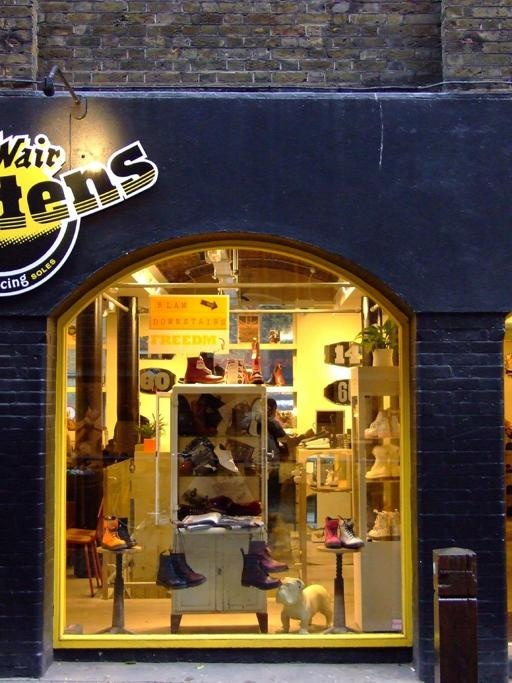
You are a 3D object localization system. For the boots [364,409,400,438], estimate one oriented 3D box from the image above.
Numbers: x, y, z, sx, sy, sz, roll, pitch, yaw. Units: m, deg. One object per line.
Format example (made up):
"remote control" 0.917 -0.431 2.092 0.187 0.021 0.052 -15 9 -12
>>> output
"boots" 0.725 0.511 7.286 0.094 0.160 0.258 1 -1 -32

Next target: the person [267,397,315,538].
"person" 0.225 0.797 7.372 0.492 0.765 0.848 0 -5 1

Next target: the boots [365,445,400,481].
"boots" 0.779 0.733 7.255 0.232 0.197 0.174 -1 -6 15

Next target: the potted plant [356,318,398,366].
"potted plant" 0.744 -0.006 7.326 0.273 0.243 0.260 -1 -7 16

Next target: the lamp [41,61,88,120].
"lamp" -1.109 -1.443 6.932 0.138 0.320 0.336 -13 -30 25

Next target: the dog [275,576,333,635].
"dog" 0.282 1.598 7.253 0.254 0.294 0.439 -7 -10 41

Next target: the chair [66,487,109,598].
"chair" -1.091 1.232 7.259 0.382 0.513 0.332 2 3 -7

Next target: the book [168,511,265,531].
"book" -0.237 1.085 7.389 0.573 0.130 0.171 0 -4 -4

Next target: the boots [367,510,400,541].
"boots" 0.785 1.122 7.239 0.105 0.151 0.276 0 -6 -9

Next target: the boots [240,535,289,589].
"boots" 0.052 1.359 7.315 0.258 0.263 0.297 -5 -9 10

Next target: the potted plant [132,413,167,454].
"potted plant" -0.667 0.553 7.362 0.233 0.261 0.203 2 -9 -11

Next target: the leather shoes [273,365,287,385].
"leather shoes" 0.136 0.207 7.361 0.076 0.122 0.075 -4 -15 13

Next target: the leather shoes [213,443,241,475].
"leather shoes" -0.184 0.738 7.491 0.139 0.192 0.059 -37 -1 4
